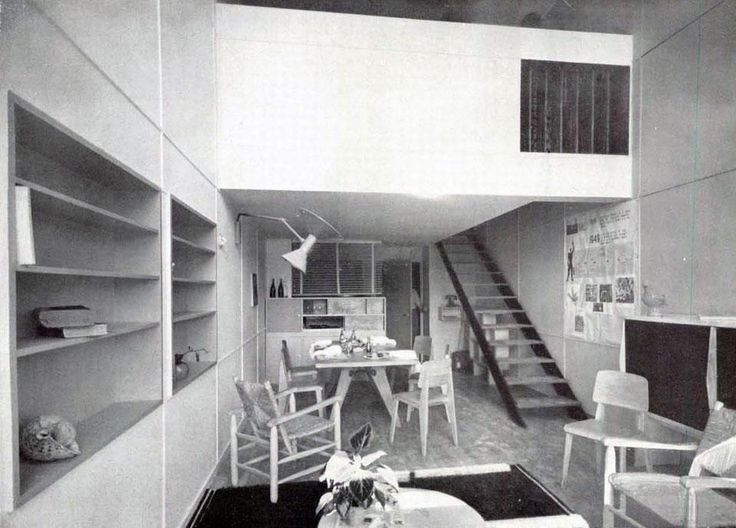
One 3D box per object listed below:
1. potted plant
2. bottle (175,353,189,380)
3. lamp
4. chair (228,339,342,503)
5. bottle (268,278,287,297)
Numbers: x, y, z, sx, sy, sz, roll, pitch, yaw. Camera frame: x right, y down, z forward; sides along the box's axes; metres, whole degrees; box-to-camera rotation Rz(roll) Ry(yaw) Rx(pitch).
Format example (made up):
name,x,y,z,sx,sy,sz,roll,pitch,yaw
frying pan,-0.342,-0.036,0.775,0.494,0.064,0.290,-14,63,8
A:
name,x,y,z,sx,sy,sz,roll,pitch,yaw
potted plant,-0.051,1.058,2.889,0.382,0.515,0.325,-2,-5,0
bottle,-1.161,0.638,3.588,0.085,0.151,0.148,1,-5,-20
lamp,-0.628,-0.209,4.040,0.647,0.406,0.286,22,0,-8
chair,-0.606,1.044,3.953,0.761,0.994,0.685,-2,1,-44
bottle,-0.640,0.159,3.957,0.115,0.169,0.062,0,0,-22
